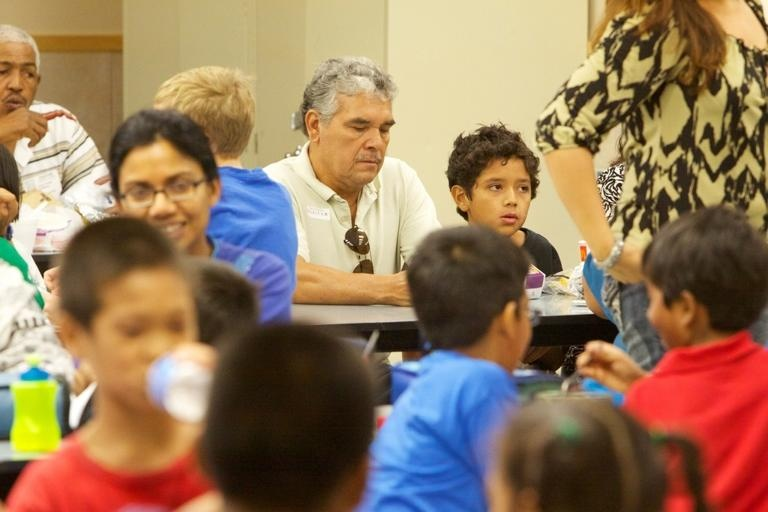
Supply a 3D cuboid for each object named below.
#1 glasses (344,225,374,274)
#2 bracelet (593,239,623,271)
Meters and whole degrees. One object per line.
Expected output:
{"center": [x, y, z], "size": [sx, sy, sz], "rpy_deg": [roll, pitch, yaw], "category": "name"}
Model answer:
{"center": [-0.100, -0.033, 2.977], "size": [0.104, 0.220, 0.051], "rpy_deg": [-13, 3, -10], "category": "glasses"}
{"center": [0.591, -0.001, 1.826], "size": [0.026, 0.063, 0.071], "rpy_deg": [17, -44, -20], "category": "bracelet"}
